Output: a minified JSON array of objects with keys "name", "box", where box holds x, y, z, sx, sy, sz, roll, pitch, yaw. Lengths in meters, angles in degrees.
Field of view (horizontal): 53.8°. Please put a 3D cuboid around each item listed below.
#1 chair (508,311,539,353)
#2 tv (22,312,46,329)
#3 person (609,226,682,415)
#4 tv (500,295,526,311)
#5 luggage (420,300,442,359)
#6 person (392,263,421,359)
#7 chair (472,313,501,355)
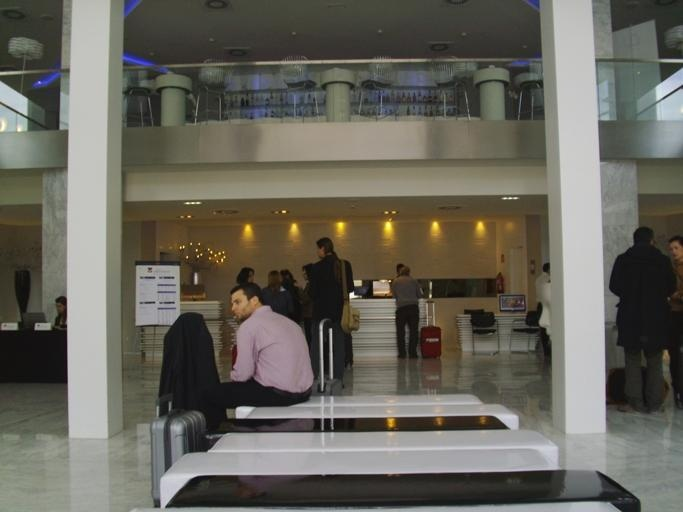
[{"name":"chair","box":[3.922,1.633,14.476,0.647,0.984,1.869,-1,-2,16]},{"name":"tv","box":[-5.574,1.144,12.059,0.668,0.288,0.288,-2,-2,43]},{"name":"person","box":[3.871,0.793,8.665,0.761,2.353,0.514,-1,-2,22]},{"name":"tv","box":[3.887,1.066,15.332,0.568,0.426,0.349,0,-13,5]},{"name":"luggage","box":[1.879,1.604,14.323,0.489,1.263,0.461,3,-23,-7]},{"name":"person","box":[1.383,1.150,14.148,0.581,1.930,0.596,-1,-2,6]},{"name":"chair","box":[3.195,1.680,14.935,0.623,0.937,0.527,-1,-2,11]}]
